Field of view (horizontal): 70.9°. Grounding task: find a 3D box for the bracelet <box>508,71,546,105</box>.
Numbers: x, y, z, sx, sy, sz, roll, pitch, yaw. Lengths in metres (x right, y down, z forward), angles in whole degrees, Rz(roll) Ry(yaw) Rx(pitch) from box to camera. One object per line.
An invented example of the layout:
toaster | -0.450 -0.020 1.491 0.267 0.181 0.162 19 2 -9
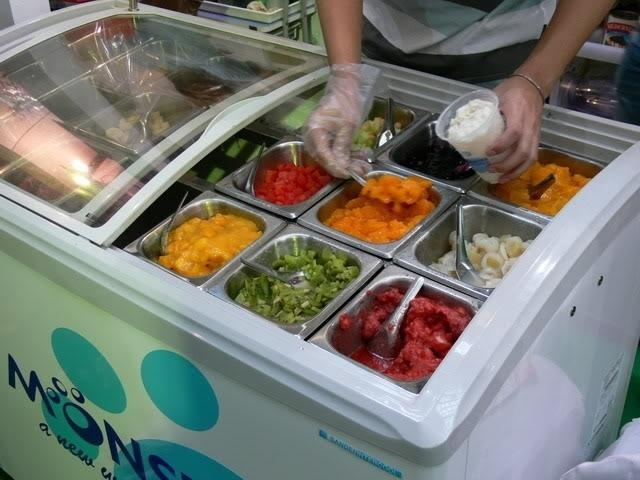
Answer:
bracelet | 0.626 -0.454 1.396 0.104 0.028 0.106 36 33 2

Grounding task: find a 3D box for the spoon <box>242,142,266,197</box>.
spoon | -0.201 -0.236 1.497 0.053 0.033 0.192 25 70 -22

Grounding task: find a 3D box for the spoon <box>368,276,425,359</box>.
spoon | 0.180 0.175 1.086 0.066 0.036 0.243 30 66 14

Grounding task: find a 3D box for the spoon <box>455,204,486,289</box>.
spoon | 0.397 0.012 1.246 0.071 0.046 0.239 -5 67 1

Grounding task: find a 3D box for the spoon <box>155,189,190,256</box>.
spoon | -0.432 -0.043 1.306 0.029 0.037 0.230 40 53 -30
